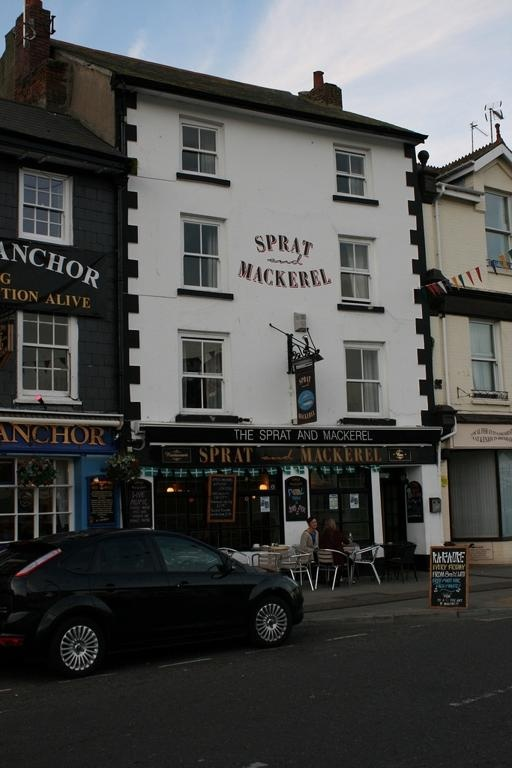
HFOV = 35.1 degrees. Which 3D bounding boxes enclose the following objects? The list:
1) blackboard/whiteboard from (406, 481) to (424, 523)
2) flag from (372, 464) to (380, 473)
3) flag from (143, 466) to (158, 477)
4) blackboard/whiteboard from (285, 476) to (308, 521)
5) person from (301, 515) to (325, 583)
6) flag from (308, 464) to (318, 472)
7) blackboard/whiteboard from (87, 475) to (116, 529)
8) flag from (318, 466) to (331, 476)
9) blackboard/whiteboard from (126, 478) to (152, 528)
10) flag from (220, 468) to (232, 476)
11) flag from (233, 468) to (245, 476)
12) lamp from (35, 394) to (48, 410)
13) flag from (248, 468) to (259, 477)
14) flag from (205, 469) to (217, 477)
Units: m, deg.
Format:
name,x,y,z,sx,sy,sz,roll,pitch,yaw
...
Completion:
name,x,y,z,sx,sy,sz,roll,pitch,yaw
blackboard/whiteboard,3.772,2.811,19.263,0.156,0.990,0.640,0,-5,-16
flag,2.740,1.934,18.482,0.169,0.166,0.042,-4,20,-9
flag,-2.045,1.749,15.789,0.150,0.266,0.369,-5,-6,35
blackboard/whiteboard,0.877,2.467,17.449,0.579,0.968,0.122,3,-7,-40
person,1.117,3.275,16.667,0.411,1.090,1.475,-2,-5,4
flag,1.263,1.854,17.817,0.200,0.185,0.548,-2,-5,3
blackboard/whiteboard,-2.823,2.167,14.977,0.555,0.935,0.244,2,-6,-31
flag,1.538,1.899,17.955,0.217,0.228,0.227,-4,-3,-7
blackboard/whiteboard,-2.199,2.272,15.446,0.371,0.943,0.884,-3,-5,17
flag,-0.597,1.798,16.624,0.216,0.153,0.134,1,-33,-12
flag,-0.351,1.808,16.708,0.126,0.185,0.192,-2,-2,39
lamp,-3.862,0.324,14.587,0.156,0.293,0.249,-3,-6,21
flag,-0.032,1.879,17.193,0.196,0.189,0.045,-2,8,-41
flag,-0.881,1.824,16.393,0.176,0.188,0.044,-2,-14,1
